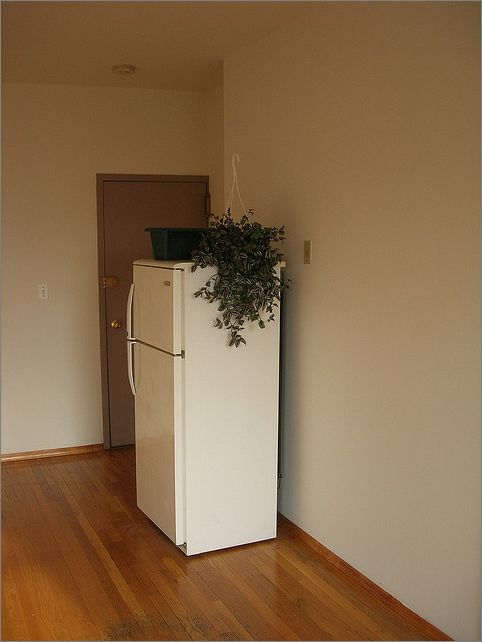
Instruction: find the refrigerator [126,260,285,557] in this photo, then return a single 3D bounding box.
[{"bbox_3d":[-0.198,0.398,2.640,0.818,1.423,0.582,-1,2,2],"label":"refrigerator"}]
